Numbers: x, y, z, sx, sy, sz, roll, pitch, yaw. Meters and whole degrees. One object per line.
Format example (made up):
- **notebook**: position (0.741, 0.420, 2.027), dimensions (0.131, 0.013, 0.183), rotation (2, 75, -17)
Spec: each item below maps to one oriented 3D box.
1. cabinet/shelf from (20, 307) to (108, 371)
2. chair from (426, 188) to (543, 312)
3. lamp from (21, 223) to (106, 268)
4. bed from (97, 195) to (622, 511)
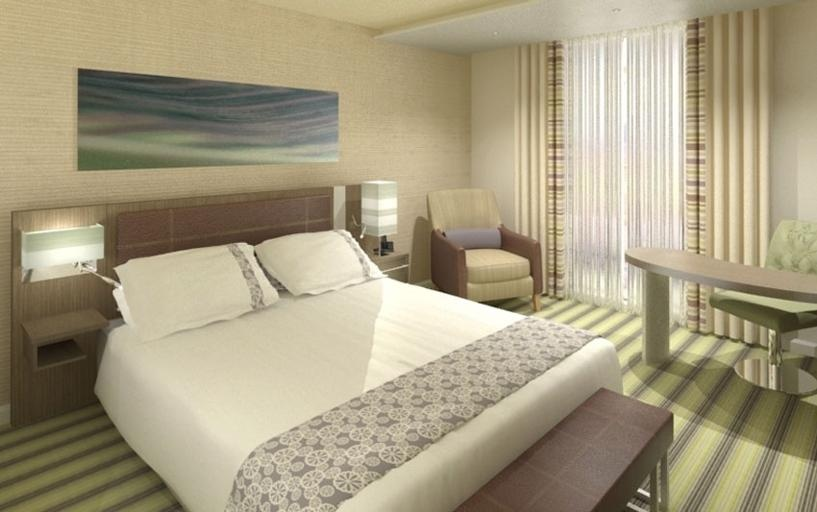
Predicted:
- **cabinet/shelf**: position (-2.634, 0.648, 4.059), dimensions (0.291, 0.307, 0.534), rotation (20, 19, 32)
- **chair**: position (0.815, -0.078, 6.123), dimensions (1.024, 1.261, 1.170), rotation (-6, 15, -17)
- **lamp**: position (-2.613, -0.075, 4.019), dimensions (0.087, 0.280, 0.585), rotation (16, 16, 25)
- **bed**: position (-0.692, 0.623, 3.516), dimensions (2.628, 0.906, 2.106), rotation (9, 14, 43)
